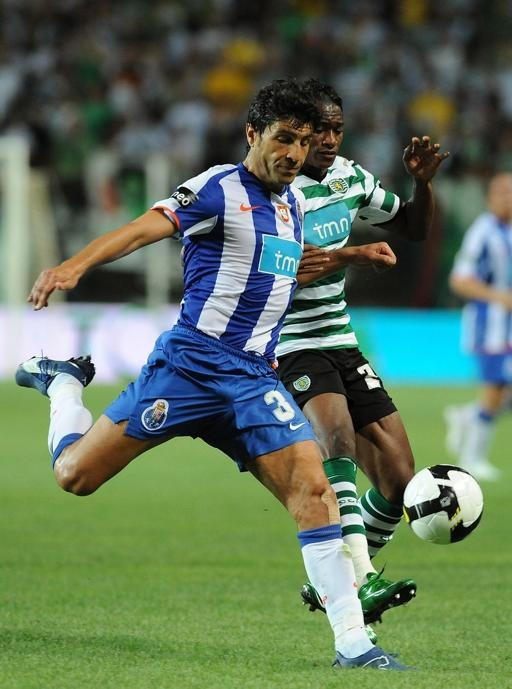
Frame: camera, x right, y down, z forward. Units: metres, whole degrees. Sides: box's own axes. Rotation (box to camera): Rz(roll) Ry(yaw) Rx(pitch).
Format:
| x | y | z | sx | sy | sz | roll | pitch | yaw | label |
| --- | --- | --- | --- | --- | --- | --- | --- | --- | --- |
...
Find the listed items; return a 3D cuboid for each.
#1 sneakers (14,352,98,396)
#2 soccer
| x | y | z | sx | sy | sz | roll | pitch | yaw | label |
| --- | --- | --- | --- | --- | --- | --- | --- | --- | --- |
| -0.793 | 0.128 | 3.405 | 0.426 | 0.123 | 0.167 | -1 | 5 | 5 | sneakers |
| 0.770 | 0.660 | 3.192 | 0.350 | 0.310 | 0.323 | -2 | 0 | -33 | soccer |
